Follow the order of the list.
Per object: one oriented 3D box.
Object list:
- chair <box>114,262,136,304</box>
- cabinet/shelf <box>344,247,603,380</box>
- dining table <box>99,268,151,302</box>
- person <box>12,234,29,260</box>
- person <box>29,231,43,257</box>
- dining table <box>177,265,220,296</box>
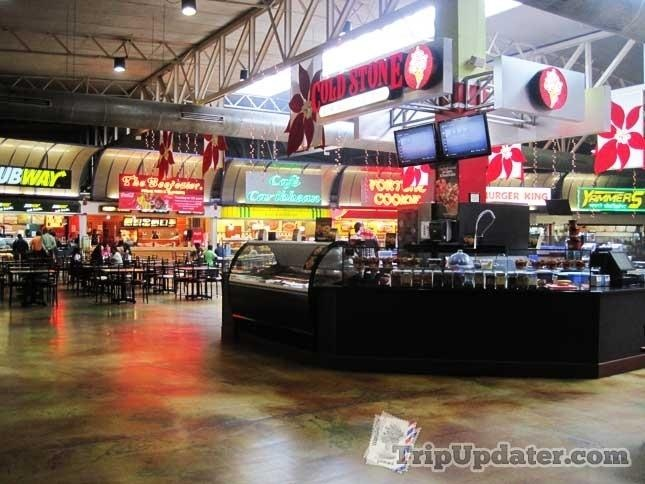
[{"bbox_3d":[-5.046,1.074,13.325,0.403,0.855,2.057,-1,3,-21],"label":"chair"},{"bbox_3d":[1.921,1.029,6.623,2.098,0.797,1.996,-1,-1,30],"label":"cabinet/shelf"},{"bbox_3d":[-5.125,1.101,13.328,1.223,0.767,1.220,2,5,22],"label":"dining table"},{"bbox_3d":[-9.363,0.146,16.042,0.459,0.709,1.920,-2,4,-31],"label":"person"},{"bbox_3d":[-8.317,0.085,15.060,0.278,0.702,1.407,-1,3,-28],"label":"person"},{"bbox_3d":[-3.619,1.114,14.480,1.281,0.837,1.247,0,1,-5],"label":"dining table"}]
